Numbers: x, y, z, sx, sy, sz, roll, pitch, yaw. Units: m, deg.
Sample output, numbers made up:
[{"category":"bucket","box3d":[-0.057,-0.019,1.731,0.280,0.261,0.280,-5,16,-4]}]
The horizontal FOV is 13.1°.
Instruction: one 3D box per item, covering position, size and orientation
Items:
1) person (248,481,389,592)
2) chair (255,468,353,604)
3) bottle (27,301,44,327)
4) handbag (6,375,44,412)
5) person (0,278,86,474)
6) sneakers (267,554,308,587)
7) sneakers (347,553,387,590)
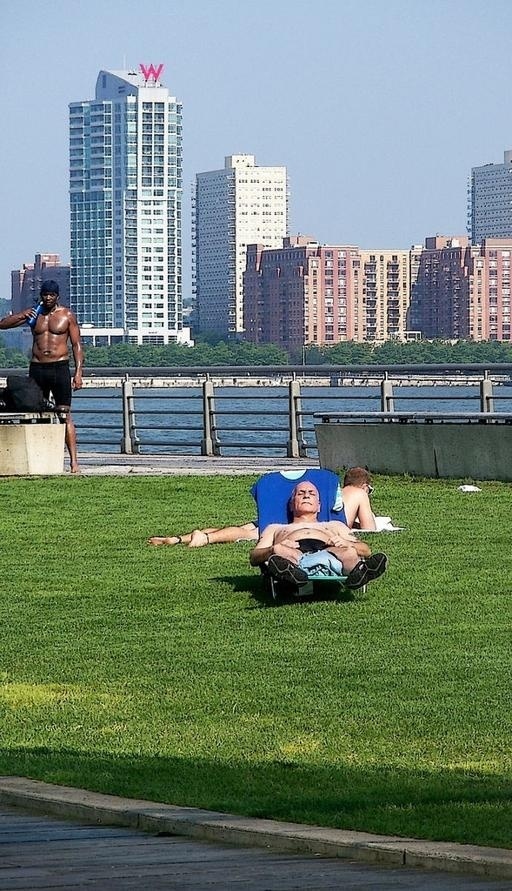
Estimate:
[{"category":"person","box3d":[0.307,0.477,12.348,0.601,0.876,1.377,1,-10,-5]},{"category":"chair","box3d":[0.250,0.482,13.024,0.353,0.401,0.782,-7,24,-4]},{"category":"bottle","box3d":[-1.853,-1.116,18.872,0.099,0.210,0.388,-3,5,-10]},{"category":"handbag","box3d":[-1.967,-0.475,19.091,0.281,0.382,0.242,-4,7,-2]},{"category":"person","box3d":[-1.808,-0.607,19.471,0.596,1.714,2.245,-2,5,-5]},{"category":"sneakers","box3d":[0.153,0.679,11.816,0.214,0.136,0.095,33,2,-23]},{"category":"sneakers","box3d":[0.584,0.664,11.819,0.132,0.244,0.097,45,14,21]}]
